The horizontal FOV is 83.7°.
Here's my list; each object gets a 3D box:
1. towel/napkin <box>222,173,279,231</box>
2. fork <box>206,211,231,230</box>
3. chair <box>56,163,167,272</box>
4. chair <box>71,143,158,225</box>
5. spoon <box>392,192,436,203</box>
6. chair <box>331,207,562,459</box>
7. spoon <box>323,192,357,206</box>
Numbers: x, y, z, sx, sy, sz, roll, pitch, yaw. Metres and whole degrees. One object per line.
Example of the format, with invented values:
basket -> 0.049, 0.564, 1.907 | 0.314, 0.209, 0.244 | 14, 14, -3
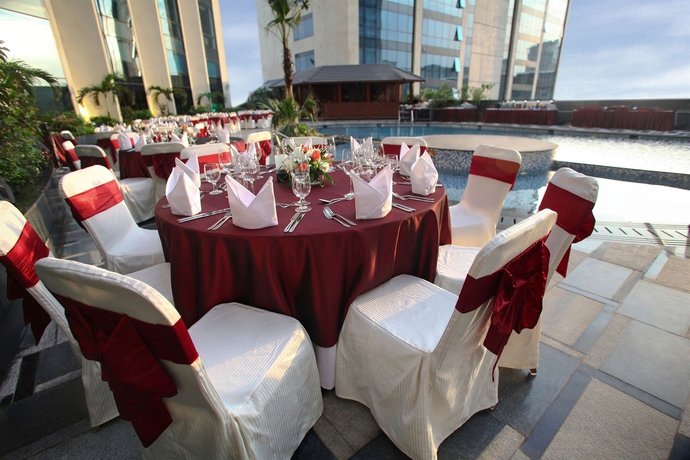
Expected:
towel/napkin -> -0.808, -0.221, 3.245 | 0.459, 0.475, 0.264 | 8, 29, 12
fork -> -1.024, -0.088, 3.165 | 0.064, 0.028, 0.254 | 14, 30, 9
chair -> -2.551, -0.111, 4.182 | 0.839, 1.060, 0.704 | 21, 41, 5
chair -> -2.832, -0.561, 4.794 | 0.681, 1.118, 0.698 | 35, 44, 16
spoon -> 0.639, -0.295, 3.530 | 0.299, 0.058, 0.044 | 12, 69, 10
chair -> 0.660, 0.732, 2.928 | 1.451, 1.744, 0.957 | 9, 24, 25
spoon -> -0.046, -0.277, 3.497 | 0.281, 0.051, 0.068 | -23, 38, -32
